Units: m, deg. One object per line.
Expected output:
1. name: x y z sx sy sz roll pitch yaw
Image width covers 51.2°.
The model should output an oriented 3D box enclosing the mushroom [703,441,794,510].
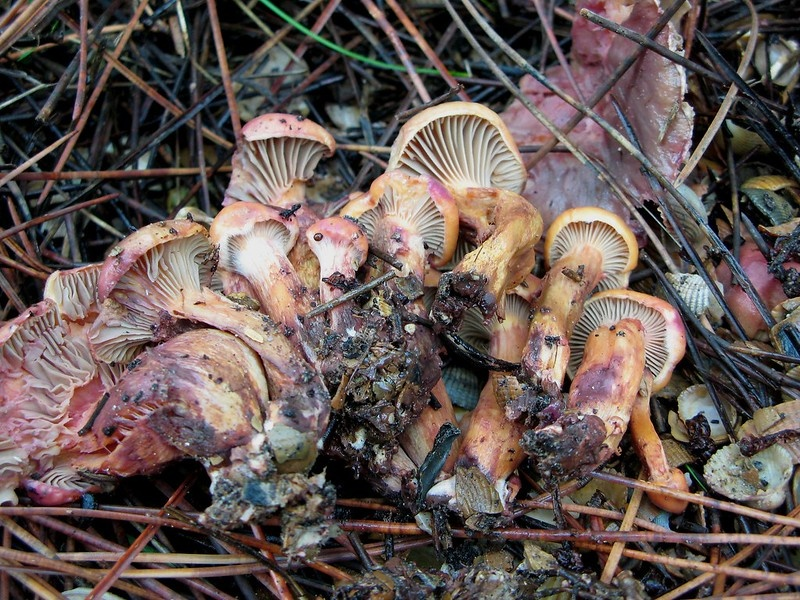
1. mushroom: 2.289 1.125 5.500 0.509 0.284 0.333 13 51 8

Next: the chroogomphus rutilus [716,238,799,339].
1. chroogomphus rutilus: 2.498 -0.112 5.933 0.534 0.426 0.531 -36 60 -27

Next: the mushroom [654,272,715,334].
1. mushroom: 2.074 -0.024 5.974 0.141 0.315 0.445 -35 74 -2

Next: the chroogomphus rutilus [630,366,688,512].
1. chroogomphus rutilus: 1.671 1.019 5.545 0.242 0.292 1.082 -26 56 30
